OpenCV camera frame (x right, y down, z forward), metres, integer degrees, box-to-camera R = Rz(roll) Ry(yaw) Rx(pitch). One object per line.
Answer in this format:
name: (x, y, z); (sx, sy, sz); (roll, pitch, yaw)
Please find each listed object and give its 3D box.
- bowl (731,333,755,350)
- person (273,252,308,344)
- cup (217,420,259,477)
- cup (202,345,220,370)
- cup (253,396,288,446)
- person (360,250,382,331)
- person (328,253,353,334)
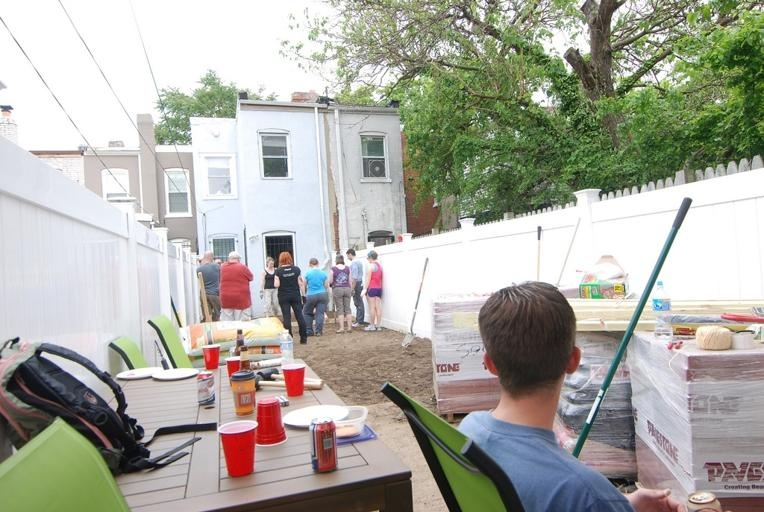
bowl: (2.755, 0.656, 4.801); (0.136, 0.091, 0.138); (-1, 4, 0)
person: (-1.952, 0.885, 13.487); (0.582, 2.000, 1.159); (-4, 6, -8)
cup: (-0.951, 1.299, 4.268); (0.307, 0.321, 0.321); (0, -4, 0)
cup: (-1.747, 1.048, 6.436); (0.213, 0.216, 0.212); (-2, -5, 0)
cup: (-0.846, 1.192, 4.526); (0.279, 0.281, 0.292); (-1, -2, 0)
person: (-0.198, 0.838, 15.456); (0.508, 1.967, 0.741); (-3, 6, 1)
person: (-0.976, 0.907, 15.297); (0.501, 1.936, 0.858); (-3, 6, -2)
